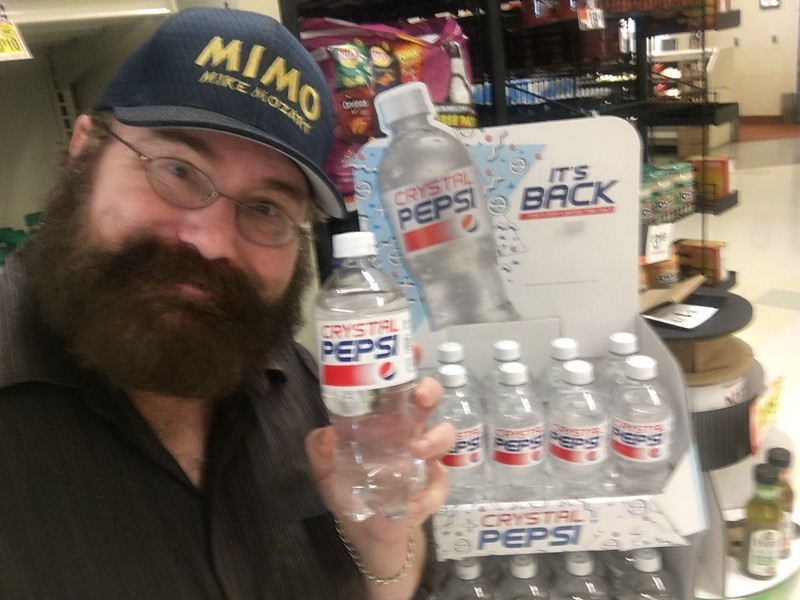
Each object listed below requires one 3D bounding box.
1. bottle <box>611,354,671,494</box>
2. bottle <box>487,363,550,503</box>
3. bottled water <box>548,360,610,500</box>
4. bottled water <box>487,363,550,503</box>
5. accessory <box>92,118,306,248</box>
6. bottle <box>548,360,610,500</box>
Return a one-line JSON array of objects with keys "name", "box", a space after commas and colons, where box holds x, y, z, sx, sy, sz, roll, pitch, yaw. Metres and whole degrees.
[{"name": "bottle", "box": [0.464, 0.258, 1.360, 0.119, 0.180, 0.156, -3, 23, 23]}, {"name": "bottle", "box": [0.222, 0.276, 1.369, 0.117, 0.190, 0.142, -9, 22, 10]}, {"name": "bottled water", "box": [0.340, 0.252, 1.359, 0.122, 0.223, 0.160, -7, 22, 14]}, {"name": "bottled water", "box": [0.222, 0.276, 1.369, 0.117, 0.190, 0.142, -9, 22, 10]}, {"name": "accessory", "box": [-0.432, -0.213, 1.460, 0.550, 0.146, 0.072, 22, -6, -15]}, {"name": "bottle", "box": [0.340, 0.252, 1.359, 0.122, 0.223, 0.160, -7, 22, 14]}]
